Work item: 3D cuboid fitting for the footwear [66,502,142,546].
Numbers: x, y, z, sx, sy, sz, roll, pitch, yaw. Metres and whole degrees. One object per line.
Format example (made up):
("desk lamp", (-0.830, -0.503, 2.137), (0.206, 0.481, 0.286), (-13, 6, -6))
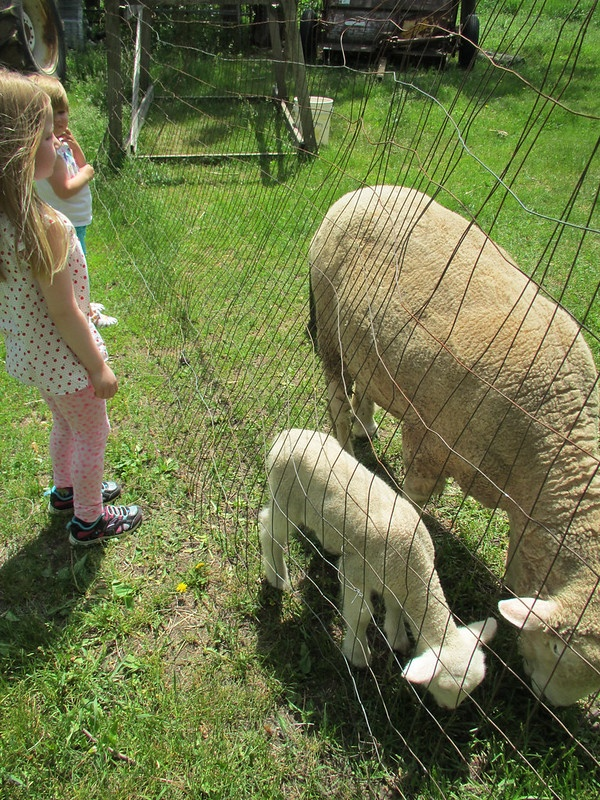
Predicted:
("footwear", (-0.897, 0.586, 3.595), (0.377, 0.167, 0.143), (-17, 38, -27))

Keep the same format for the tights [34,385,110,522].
("tights", (-1.027, 0.271, 3.416), (0.211, 0.637, 0.297), (-20, 52, -33))
